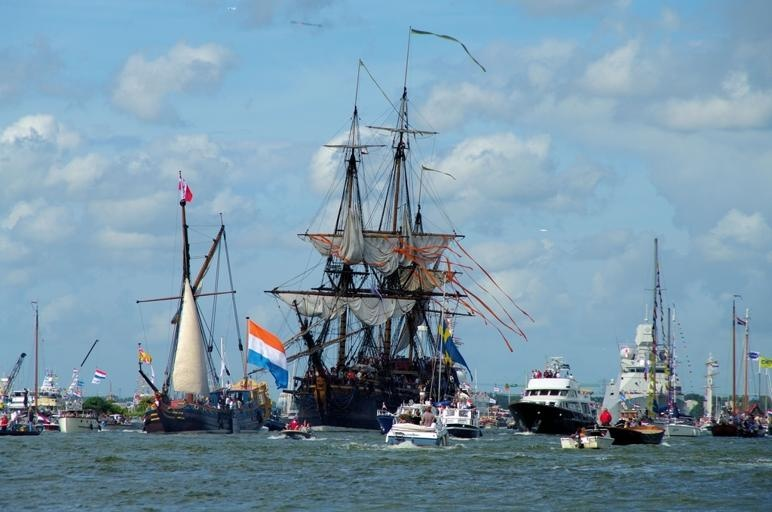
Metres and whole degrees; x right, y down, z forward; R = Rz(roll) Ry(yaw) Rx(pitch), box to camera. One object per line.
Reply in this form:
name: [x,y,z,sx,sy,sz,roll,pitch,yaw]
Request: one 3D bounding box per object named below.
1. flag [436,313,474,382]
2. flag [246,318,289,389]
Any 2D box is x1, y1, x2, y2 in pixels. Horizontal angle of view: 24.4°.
flag: [8.882,12.388,263.461,5.620,11.814,1.007,19,-48,-25]
flag: [-17.670,14.407,263.832,7.091,10.161,0.996,10,17,21]
